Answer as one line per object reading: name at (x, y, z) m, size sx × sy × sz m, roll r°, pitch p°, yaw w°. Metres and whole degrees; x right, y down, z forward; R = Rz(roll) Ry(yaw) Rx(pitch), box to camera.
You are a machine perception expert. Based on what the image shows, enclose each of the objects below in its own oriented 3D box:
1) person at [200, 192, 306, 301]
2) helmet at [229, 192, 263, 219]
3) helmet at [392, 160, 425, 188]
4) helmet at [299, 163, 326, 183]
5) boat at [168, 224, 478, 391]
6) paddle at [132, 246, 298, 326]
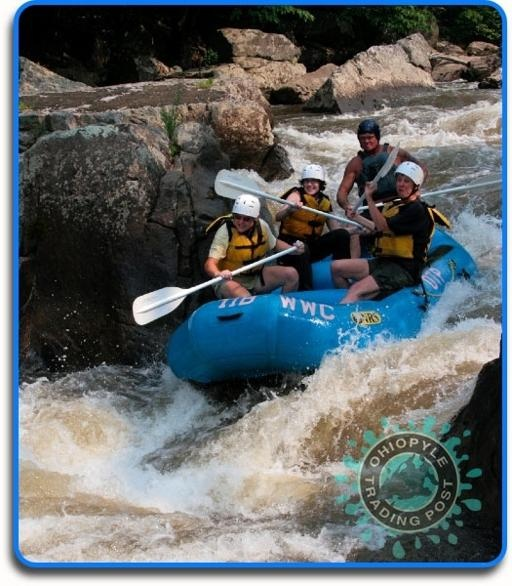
person at (-0.028, -0.359, 6.399) m, size 0.671 × 0.743 × 0.573 m, roll -28°, pitch 41°, yaw -26°
helmet at (-0.084, -0.701, 6.151) m, size 0.177 × 0.160 × 0.231 m, roll 14°, pitch -3°, yaw 5°
helmet at (1.202, -0.926, 5.970) m, size 0.170 × 0.169 × 0.238 m, roll 35°, pitch 7°, yaw 18°
helmet at (0.483, -1.018, 6.652) m, size 0.146 × 0.187 × 0.136 m, roll 1°, pitch 50°, yaw 11°
boat at (0.593, 0.204, 6.091) m, size 2.149 × 0.447 × 1.110 m, roll -17°, pitch 17°, yaw -15°
paddle at (-0.340, -0.048, 6.309) m, size 1.863 × 0.248 × 0.132 m, roll -20°, pitch 5°, yaw -18°
